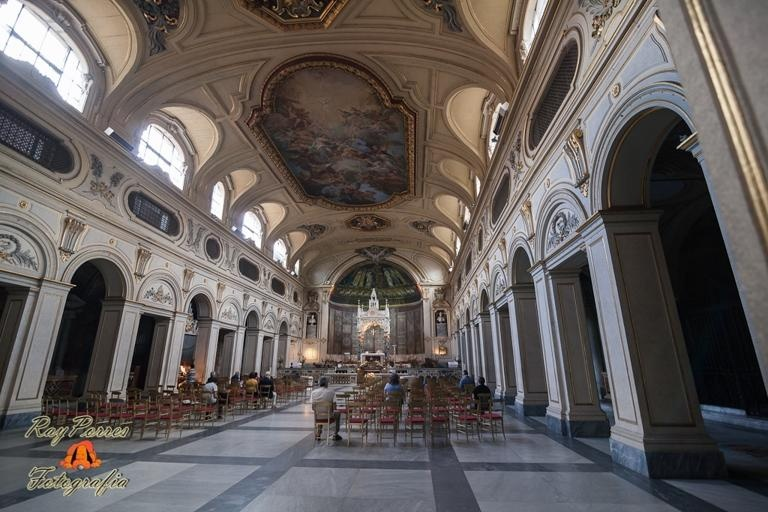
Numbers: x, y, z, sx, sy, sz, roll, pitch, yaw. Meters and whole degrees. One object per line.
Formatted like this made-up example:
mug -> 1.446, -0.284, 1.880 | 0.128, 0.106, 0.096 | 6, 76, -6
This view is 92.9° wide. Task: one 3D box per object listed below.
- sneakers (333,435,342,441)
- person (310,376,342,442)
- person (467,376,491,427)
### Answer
sneakers -> -1.072, 4.238, 8.488 | 0.109, 0.086, 0.184 | 2, -13, -3
person -> -1.368, 3.651, 8.831 | 0.694, 1.481, 1.358 | 2, -12, -10
person -> 2.404, 3.600, 8.928 | 0.422, 1.158, 1.180 | -3, -13, 13
